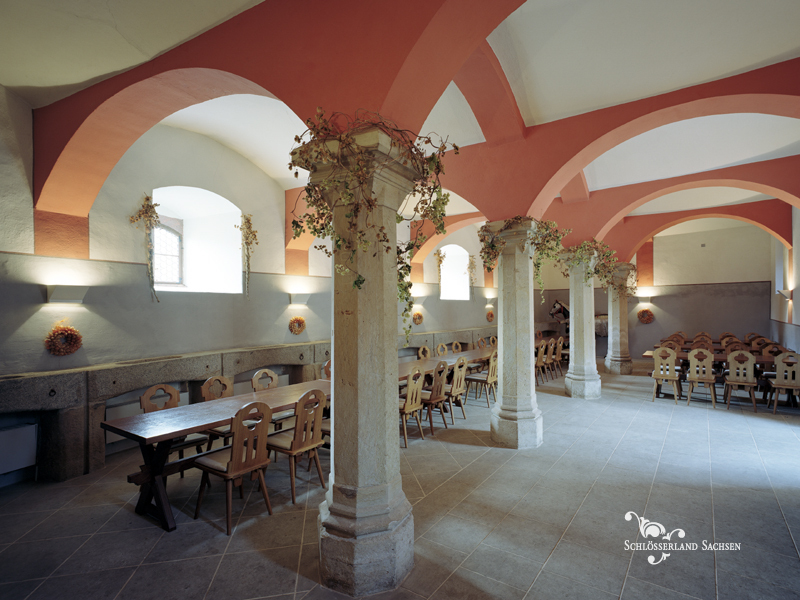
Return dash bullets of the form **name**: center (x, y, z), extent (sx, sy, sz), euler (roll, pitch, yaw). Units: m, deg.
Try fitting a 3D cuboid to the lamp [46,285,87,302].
- **lamp**: center (-4.630, -0.074, 7.138), extent (0.488, 0.281, 0.129), euler (-9, 12, -42)
